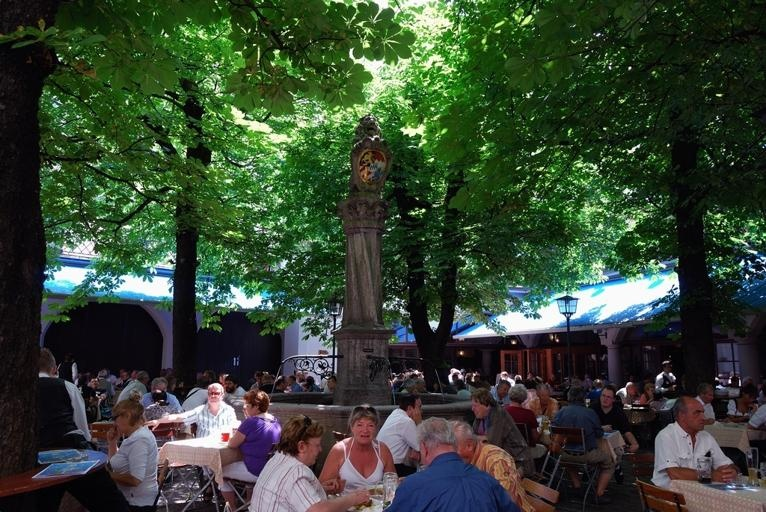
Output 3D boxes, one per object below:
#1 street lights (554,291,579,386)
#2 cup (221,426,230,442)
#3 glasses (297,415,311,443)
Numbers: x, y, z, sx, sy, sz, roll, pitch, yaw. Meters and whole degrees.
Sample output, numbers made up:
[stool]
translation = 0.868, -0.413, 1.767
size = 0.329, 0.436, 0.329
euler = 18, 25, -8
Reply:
[street lights]
translation = 7.041, 3.162, 20.907
size = 0.904, 3.284, 0.750
euler = -2, -6, -4
[cup]
translation = -2.611, 2.944, 9.114
size = 0.200, 0.216, 0.195
euler = -1, -11, 0
[glasses]
translation = -0.828, 1.845, 5.910
size = 0.131, 0.233, 0.227
euler = 0, -13, -7
